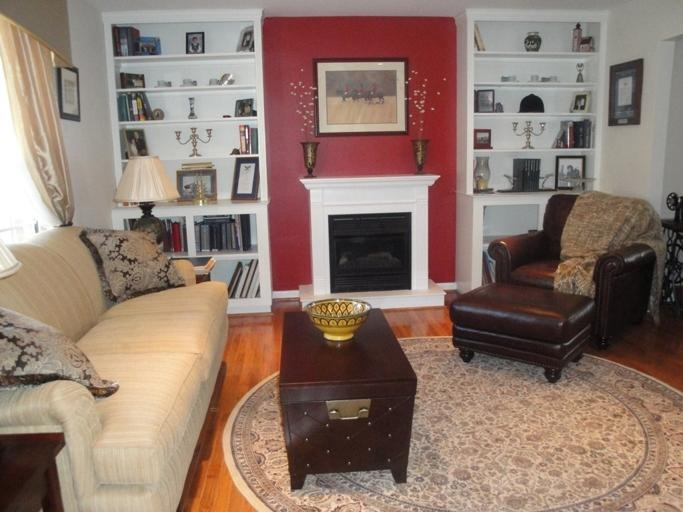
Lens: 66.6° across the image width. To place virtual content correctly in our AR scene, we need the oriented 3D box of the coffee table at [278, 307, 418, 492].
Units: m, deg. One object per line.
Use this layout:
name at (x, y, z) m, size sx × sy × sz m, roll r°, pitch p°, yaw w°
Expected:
coffee table at (0.020, 0.786, 2.872) m, size 0.657 × 0.648 × 0.731 m, roll -4°, pitch 12°, yaw -4°

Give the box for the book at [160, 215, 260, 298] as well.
book at (-1.177, -0.019, 4.595) m, size 0.750 × 0.699 × 0.247 m, roll -2°, pitch 8°, yaw -7°

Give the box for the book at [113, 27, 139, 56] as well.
book at (-2.014, -1.983, 4.806) m, size 0.123 × 0.227 × 0.230 m, roll 1°, pitch 19°, yaw -2°

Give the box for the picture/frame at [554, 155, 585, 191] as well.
picture/frame at (2.404, -0.868, 5.437) m, size 0.384 × 0.516 × 0.043 m, roll 0°, pitch 3°, yaw 2°

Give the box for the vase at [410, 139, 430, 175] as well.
vase at (0.779, -0.983, 5.176) m, size 0.257 × 0.337 × 0.254 m, roll -3°, pitch 3°, yaw -24°

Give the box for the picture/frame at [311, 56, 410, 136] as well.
picture/frame at (0.155, -1.643, 5.231) m, size 0.779 × 0.604 × 0.036 m, roll -1°, pitch 7°, yaw -4°

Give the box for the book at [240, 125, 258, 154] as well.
book at (-0.892, -1.114, 4.987) m, size 0.210 × 0.280 × 0.174 m, roll -3°, pitch 13°, yaw -1°

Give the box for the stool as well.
stool at (1.319, 0.361, 3.659) m, size 0.731 × 0.466 × 0.698 m, roll 8°, pitch 17°, yaw 33°

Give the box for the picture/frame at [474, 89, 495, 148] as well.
picture/frame at (1.460, -1.395, 5.297) m, size 0.197 × 0.589 × 0.338 m, roll 3°, pitch 14°, yaw 23°

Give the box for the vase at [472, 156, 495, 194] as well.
vase at (1.441, -0.834, 5.292) m, size 0.181 × 0.352 × 0.261 m, roll 0°, pitch 13°, yaw 14°

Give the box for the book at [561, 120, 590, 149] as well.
book at (2.419, -1.247, 5.336) m, size 0.281 × 0.284 × 0.128 m, roll 2°, pitch 14°, yaw 21°

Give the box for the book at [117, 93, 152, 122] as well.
book at (-1.967, -1.393, 4.886) m, size 0.242 × 0.246 × 0.143 m, roll 3°, pitch 18°, yaw 6°

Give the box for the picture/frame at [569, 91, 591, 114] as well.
picture/frame at (2.458, -1.586, 5.338) m, size 0.169 × 0.201 × 0.108 m, roll 4°, pitch 14°, yaw 27°

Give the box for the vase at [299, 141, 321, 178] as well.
vase at (-0.325, -0.938, 5.082) m, size 0.231 × 0.329 × 0.219 m, roll -9°, pitch 9°, yaw -37°
